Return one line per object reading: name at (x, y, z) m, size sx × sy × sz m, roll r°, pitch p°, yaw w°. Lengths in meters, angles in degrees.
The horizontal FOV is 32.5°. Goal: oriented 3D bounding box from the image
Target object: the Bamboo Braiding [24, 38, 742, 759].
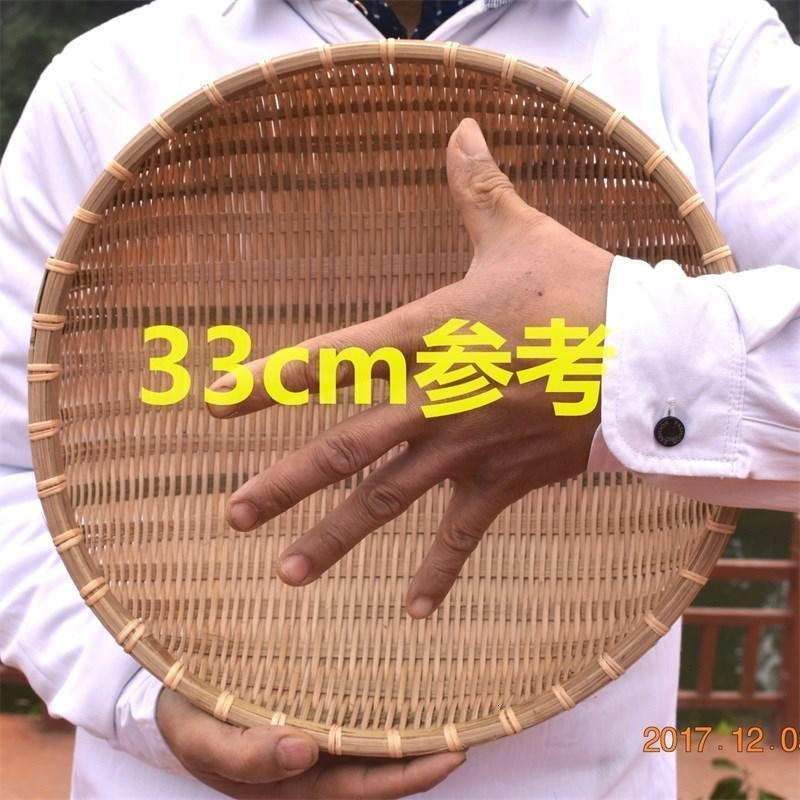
Bamboo Braiding at (-0.082, 0.008, 0.926) m, size 0.535 × 0.123 × 0.495 m, roll -4°, pitch 96°, yaw -2°
